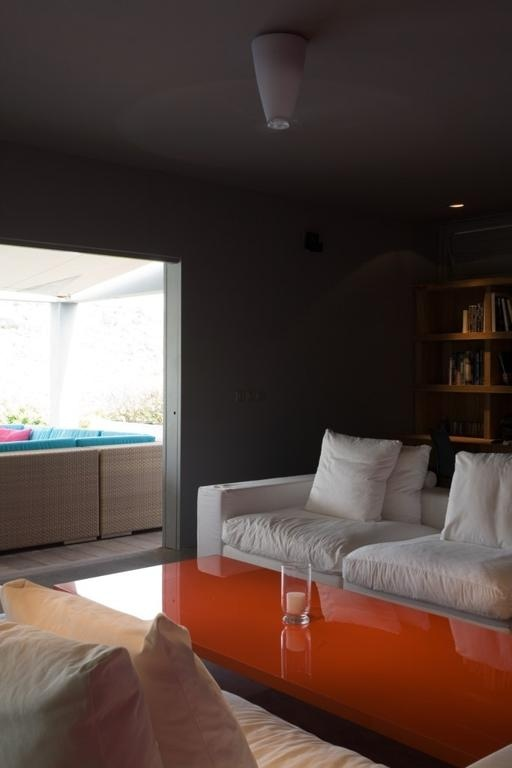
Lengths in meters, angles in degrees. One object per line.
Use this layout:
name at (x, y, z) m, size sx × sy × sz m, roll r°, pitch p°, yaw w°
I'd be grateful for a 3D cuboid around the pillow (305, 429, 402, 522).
pillow at (0.600, 0.587, 3.481) m, size 0.537 × 0.497 × 0.301 m, roll 4°, pitch 2°, yaw 45°

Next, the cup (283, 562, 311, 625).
cup at (0.134, 0.737, 1.908) m, size 0.122 × 0.208 × 0.122 m, roll 2°, pitch -21°, yaw 1°

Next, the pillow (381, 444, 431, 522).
pillow at (0.906, 0.612, 3.347) m, size 0.146 × 0.401 × 0.387 m, roll 12°, pitch -11°, yaw -42°

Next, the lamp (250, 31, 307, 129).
lamp at (0.118, -1.519, 2.793) m, size 0.298 × 0.382 × 0.276 m, roll -3°, pitch 6°, yaw -38°
